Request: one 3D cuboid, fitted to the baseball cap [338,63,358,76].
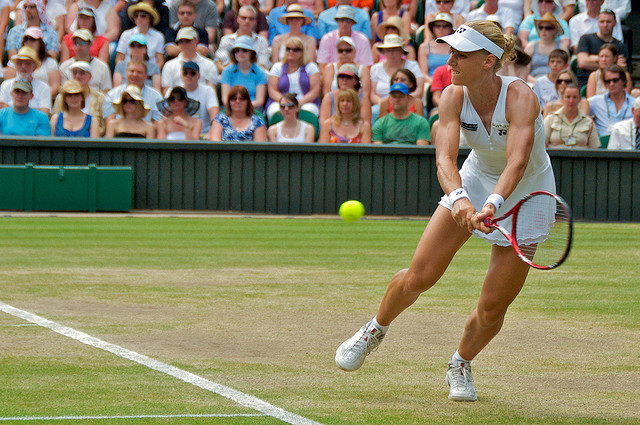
[{"bbox_3d":[0.394,-2.159,22.312,0.277,0.191,0.400,2,3,1],"label":"baseball cap"}]

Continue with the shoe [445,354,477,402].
[{"bbox_3d":[1.417,1.668,15.247,0.313,0.426,0.227,2,3,4],"label":"shoe"}]

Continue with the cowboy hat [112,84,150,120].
[{"bbox_3d":[-2.669,-1.718,21.837,0.406,0.208,0.476,-11,-6,29],"label":"cowboy hat"}]

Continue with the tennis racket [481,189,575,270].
[{"bbox_3d":[2.068,0.147,15.284,0.991,0.374,0.067,-15,-13,30],"label":"tennis racket"}]

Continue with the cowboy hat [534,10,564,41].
[{"bbox_3d":[3.609,-2.983,23.641,0.429,0.197,0.486,15,-24,17],"label":"cowboy hat"}]

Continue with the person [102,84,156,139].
[{"bbox_3d":[-2.763,-1.491,22.039,0.815,0.822,0.512,6,-4,-4],"label":"person"}]

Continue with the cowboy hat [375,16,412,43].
[{"bbox_3d":[1.123,-2.956,23.564,0.469,0.194,0.466,6,-14,44],"label":"cowboy hat"}]

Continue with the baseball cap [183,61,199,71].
[{"bbox_3d":[-1.876,-2.202,22.242,0.173,0.134,0.275,3,4,27],"label":"baseball cap"}]

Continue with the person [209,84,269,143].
[{"bbox_3d":[-1.212,-1.341,21.984,0.834,1.028,0.624,0,8,-7],"label":"person"}]

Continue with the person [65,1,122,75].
[{"bbox_3d":[-3.553,-2.833,23.704,0.856,1.119,0.600,2,3,-4],"label":"person"}]

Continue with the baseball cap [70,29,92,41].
[{"bbox_3d":[-3.567,-2.710,22.603,0.278,0.183,0.302,1,3,-10],"label":"baseball cap"}]

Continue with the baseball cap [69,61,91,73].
[{"bbox_3d":[-3.511,-2.195,22.246,0.291,0.170,0.294,1,3,-12],"label":"baseball cap"}]

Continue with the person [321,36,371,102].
[{"bbox_3d":[0.369,-2.175,22.914,0.824,1.089,1.029,-2,13,-6],"label":"person"}]

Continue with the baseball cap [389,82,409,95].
[{"bbox_3d":[1.128,-1.835,21.778,0.258,0.175,0.260,2,3,-1],"label":"baseball cap"}]

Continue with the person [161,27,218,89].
[{"bbox_3d":[-1.965,-2.385,22.789,0.850,0.923,0.467,2,3,-5],"label":"person"}]

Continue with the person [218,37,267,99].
[{"bbox_3d":[-1.174,-2.140,22.776,0.808,1.101,0.623,-1,21,0],"label":"person"}]

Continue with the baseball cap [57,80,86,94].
[{"bbox_3d":[-3.602,-1.860,21.828,0.402,0.208,0.313,2,3,7],"label":"baseball cap"}]

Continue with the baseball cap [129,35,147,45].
[{"bbox_3d":[-2.724,-2.637,22.591,0.249,0.156,0.254,1,3,-6],"label":"baseball cap"}]

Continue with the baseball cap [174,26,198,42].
[{"bbox_3d":[-2.011,-2.750,22.776,0.313,0.235,0.489,1,3,-7],"label":"baseball cap"}]

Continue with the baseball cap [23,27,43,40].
[{"bbox_3d":[-4.262,-2.726,22.523,0.295,0.178,0.220,1,3,-20],"label":"baseball cap"}]

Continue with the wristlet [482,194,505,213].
[{"bbox_3d":[1.738,-0.140,15.124,0.164,0.174,0.174,41,3,-15],"label":"wristlet"}]

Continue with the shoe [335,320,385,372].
[{"bbox_3d":[0.390,1.368,15.465,0.697,0.270,0.313,-38,-1,-29],"label":"shoe"}]

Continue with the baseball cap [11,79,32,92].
[{"bbox_3d":[-4.299,-1.880,21.822,0.256,0.189,0.409,1,3,-9],"label":"baseball cap"}]

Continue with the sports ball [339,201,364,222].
[{"bbox_3d":[0.456,-0.060,20.716,0.319,0.238,0.239,0,45,-21],"label":"sports ball"}]

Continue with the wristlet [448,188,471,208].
[{"bbox_3d":[1.364,-0.175,15.135,0.183,0.188,0.105,2,3,1],"label":"wristlet"}]
